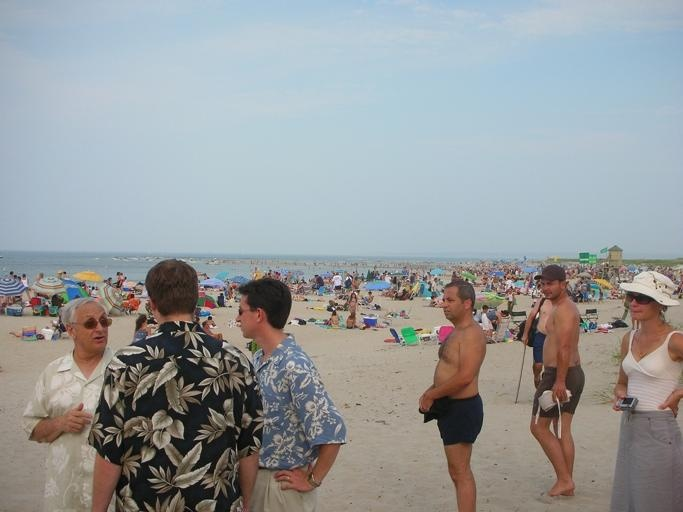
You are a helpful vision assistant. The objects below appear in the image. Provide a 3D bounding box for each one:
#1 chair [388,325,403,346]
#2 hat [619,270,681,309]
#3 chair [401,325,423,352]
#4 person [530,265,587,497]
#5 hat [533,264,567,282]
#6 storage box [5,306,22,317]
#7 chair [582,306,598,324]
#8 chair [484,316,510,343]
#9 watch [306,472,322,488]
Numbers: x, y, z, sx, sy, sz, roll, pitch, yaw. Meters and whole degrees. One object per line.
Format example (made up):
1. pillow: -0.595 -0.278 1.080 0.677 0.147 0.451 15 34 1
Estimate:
1. chair: 1.456 2.156 20.508 0.330 0.392 1.036 6 -1 26
2. hat: 2.565 0.250 6.205 0.351 0.162 0.339 -1 14 -30
3. chair: 1.777 2.065 18.990 0.530 0.487 0.412 -4 10 -29
4. person: 2.169 1.231 7.596 0.522 1.905 0.791 -3 1 16
5. hat: 2.154 0.158 7.638 0.245 0.125 0.169 9 -9 -33
6. storage box: -10.472 1.733 24.196 0.478 0.326 0.342 6 8 27
7. chair: 7.728 1.831 23.365 0.370 0.230 0.369 3 20 1
8. chair: 3.885 1.861 19.052 0.590 0.674 0.563 4 -9 -44
9. watch: -0.204 1.614 5.439 0.079 0.099 0.101 6 6 -5
